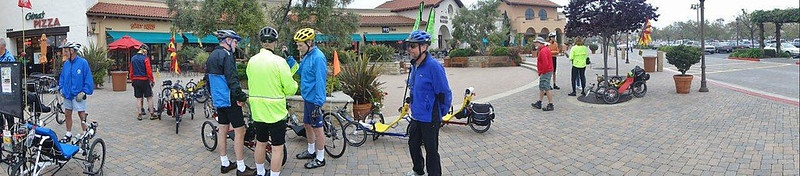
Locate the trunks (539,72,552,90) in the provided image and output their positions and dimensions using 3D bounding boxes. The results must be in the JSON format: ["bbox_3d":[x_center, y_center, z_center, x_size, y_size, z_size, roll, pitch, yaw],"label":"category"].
[{"bbox_3d":[25.369,-1.143,66.404,2.169,3.111,0.937,-4,10,-10],"label":"trunks"}]
